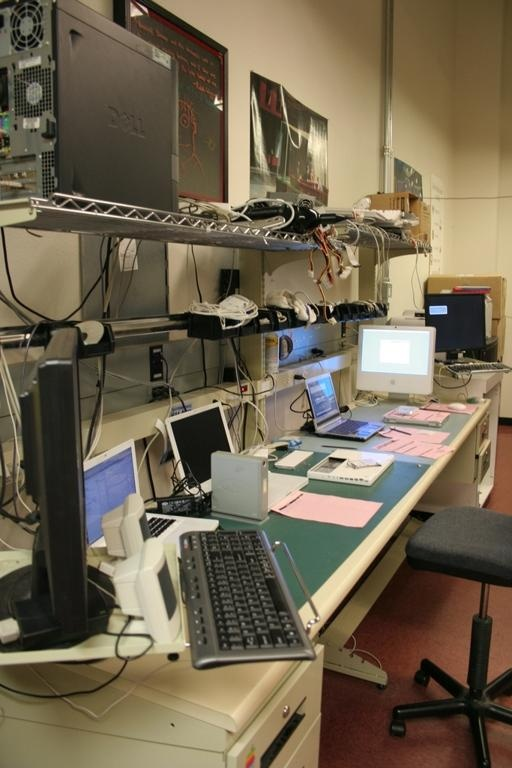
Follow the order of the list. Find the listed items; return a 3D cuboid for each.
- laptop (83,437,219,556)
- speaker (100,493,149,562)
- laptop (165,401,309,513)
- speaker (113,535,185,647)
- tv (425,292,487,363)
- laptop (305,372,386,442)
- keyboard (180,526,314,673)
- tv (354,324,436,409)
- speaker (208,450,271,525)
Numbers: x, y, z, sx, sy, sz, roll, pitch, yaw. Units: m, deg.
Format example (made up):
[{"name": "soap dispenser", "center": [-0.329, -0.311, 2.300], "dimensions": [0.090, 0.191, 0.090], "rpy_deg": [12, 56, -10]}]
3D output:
[{"name": "laptop", "center": [-0.269, 0.269, 1.425], "dimensions": [0.219, 0.203, 0.278], "rpy_deg": [4, 10, 7]}, {"name": "speaker", "center": [-0.249, 0.270, 1.074], "dimensions": [0.062, 0.095, 0.092], "rpy_deg": [-5, 16, -5]}, {"name": "laptop", "center": [-0.080, 0.173, 1.770], "dimensions": [0.319, 0.245, 0.318], "rpy_deg": [5, 8, 25]}, {"name": "speaker", "center": [-0.180, 0.312, 0.844], "dimensions": [0.065, 0.118, 0.114], "rpy_deg": [-8, -3, -39]}, {"name": "tv", "center": [1.262, -0.342, 3.612], "dimensions": [0.388, 0.412, 0.132], "rpy_deg": [4, 7, 43]}, {"name": "laptop", "center": [0.407, 0.095, 2.640], "dimensions": [0.391, 0.254, 0.408], "rpy_deg": [-3, 7, -11]}, {"name": "keyboard", "center": [-0.032, 0.364, 1.028], "dimensions": [0.180, 0.048, 0.409], "rpy_deg": [0, 11, -10]}, {"name": "tv", "center": [0.765, -0.087, 3.177], "dimensions": [0.408, 0.445, 0.154], "rpy_deg": [3, 5, 17]}, {"name": "speaker", "center": [-0.049, 0.292, 1.578], "dimensions": [0.165, 0.203, 0.062], "rpy_deg": [2, 6, 27]}]
